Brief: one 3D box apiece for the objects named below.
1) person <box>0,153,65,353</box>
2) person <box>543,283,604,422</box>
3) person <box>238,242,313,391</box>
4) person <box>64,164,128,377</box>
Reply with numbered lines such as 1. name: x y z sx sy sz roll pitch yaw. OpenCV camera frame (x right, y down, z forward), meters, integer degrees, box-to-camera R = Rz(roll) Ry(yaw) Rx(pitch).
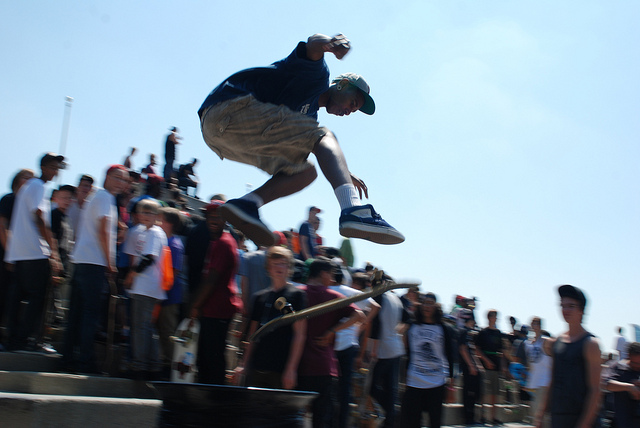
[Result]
1. person: -2.956 0.517 6.586 0.610 1.777 0.403 17 -15 -40
2. person: 2.458 1.332 6.052 0.478 1.284 0.292 4 -12 18
3. person: -0.419 0.985 6.020 0.805 1.386 0.517 4 -12 18
4. person: -2.247 0.513 6.362 0.454 2.148 0.479 16 -14 -34
